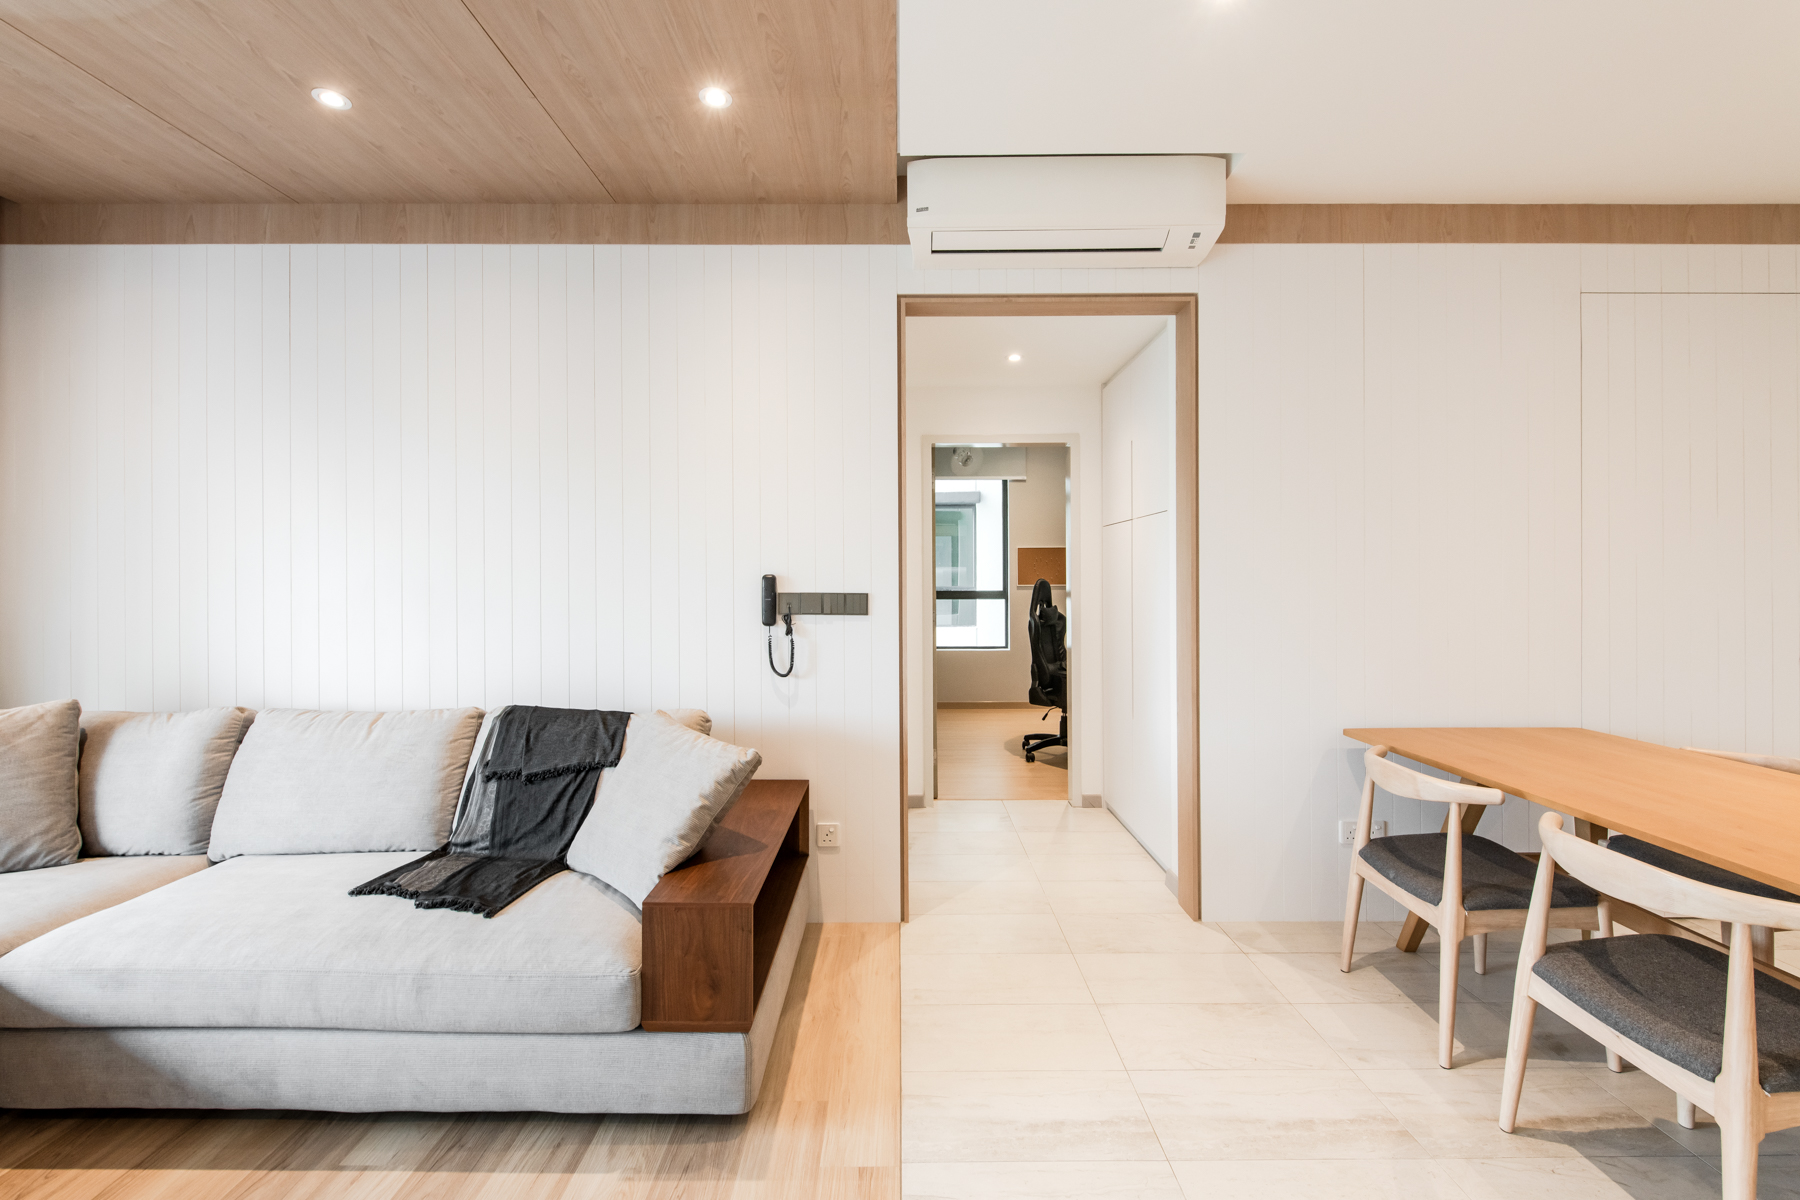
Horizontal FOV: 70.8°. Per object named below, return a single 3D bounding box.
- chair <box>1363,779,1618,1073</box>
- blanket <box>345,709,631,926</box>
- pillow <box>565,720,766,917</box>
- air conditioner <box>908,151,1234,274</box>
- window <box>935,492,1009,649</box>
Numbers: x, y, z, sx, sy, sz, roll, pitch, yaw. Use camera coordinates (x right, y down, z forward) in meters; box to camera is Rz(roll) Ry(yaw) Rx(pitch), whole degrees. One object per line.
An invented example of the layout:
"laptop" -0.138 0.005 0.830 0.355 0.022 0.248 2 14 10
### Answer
"chair" 2.465 1.237 5.406 0.978 1.099 1.041 0 6 8
"blanket" -1.611 0.846 5.102 0.765 0.440 1.063 0 14 19
"pillow" -0.869 0.957 5.221 0.731 0.676 0.215 19 -19 40
"air conditioner" 0.779 -1.759 5.698 1.447 0.424 0.324 1 3 2
"window" 0.664 -0.184 11.554 0.705 1.479 0.070 0 13 9
